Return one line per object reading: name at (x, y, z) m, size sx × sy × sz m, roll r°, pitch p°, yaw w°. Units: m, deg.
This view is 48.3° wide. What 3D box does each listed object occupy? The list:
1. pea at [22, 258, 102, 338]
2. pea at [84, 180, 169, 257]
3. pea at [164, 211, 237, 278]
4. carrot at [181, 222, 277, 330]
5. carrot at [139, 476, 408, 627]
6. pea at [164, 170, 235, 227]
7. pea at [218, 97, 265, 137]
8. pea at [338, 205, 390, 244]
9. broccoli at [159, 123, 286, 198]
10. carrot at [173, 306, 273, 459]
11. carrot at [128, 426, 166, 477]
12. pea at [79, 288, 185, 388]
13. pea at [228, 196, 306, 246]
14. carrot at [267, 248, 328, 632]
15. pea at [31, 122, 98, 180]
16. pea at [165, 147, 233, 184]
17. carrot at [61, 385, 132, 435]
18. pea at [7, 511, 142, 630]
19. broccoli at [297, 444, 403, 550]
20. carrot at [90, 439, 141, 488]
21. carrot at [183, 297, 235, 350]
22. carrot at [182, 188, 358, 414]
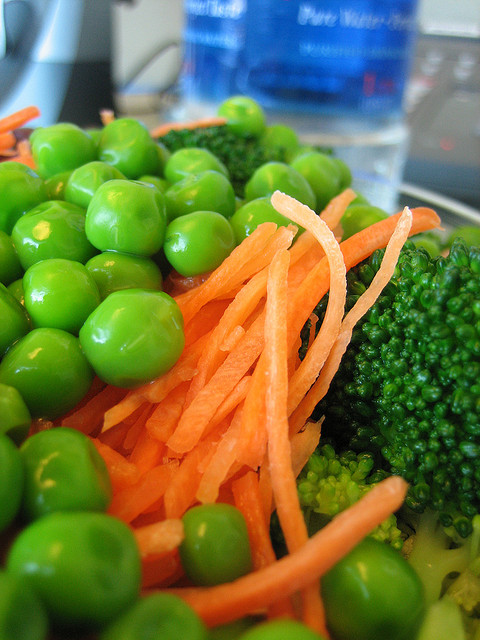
pea at (-0.174, -0.029, 0.542) m, size 0.075 × 0.078 × 0.066 m, roll 5°, pitch 4°, yaw -9°
pea at (-0.129, -0.118, 0.607) m, size 0.094 × 0.081 × 0.097 m, roll 11°, pitch 23°, yaw 14°
pea at (-0.039, -0.087, 0.603) m, size 0.063 × 0.063 × 0.085 m, roll 4°, pitch 5°, yaw 7°
carrot at (-0.012, -0.046, 0.582) m, size 0.157 × 0.027 × 0.026 m, roll -42°, pitch 19°, yaw -8°
carrot at (0.021, 0.177, 0.408) m, size 0.132 × 0.020 × 0.032 m, roll -33°, pitch 70°, yaw 14°
pea at (-0.053, -0.146, 0.715) m, size 0.096 × 0.078 × 0.085 m, roll -4°, pitch 6°, yaw -4°
pea at (-0.001, -0.410, 1.108) m, size 0.097 × 0.087 × 0.101 m, roll 0°, pitch 72°, yaw 2°
pea at (0.175, -0.149, 0.786) m, size 0.070 × 0.076 × 0.066 m, roll -1°, pitch 20°, yaw -7°
broccoli at (-0.039, -0.360, 1.118) m, size 0.201 × 0.111 × 0.287 m, roll 2°, pitch 8°, yaw 2°
carrot at (0.002, 0.062, 0.484) m, size 0.040 × 0.204 × 0.021 m, roll 15°, pitch 43°, yaw -38°
carrot at (-0.086, 0.123, 0.509) m, size 0.015 × 0.014 × 0.052 m, roll -25°, pitch 20°, yaw 22°
pea at (-0.092, 0.018, 0.493) m, size 0.081 × 0.076 × 0.099 m, roll -2°, pitch -9°, yaw -4°
pea at (0.036, -0.106, 0.714) m, size 0.078 × 0.091 × 0.076 m, roll -4°, pitch 75°, yaw -7°
carrot at (0.051, 0.089, 0.457) m, size 0.042 × 0.028 × 0.285 m, roll -3°, pitch 67°, yaw 19°
pea at (-0.259, -0.232, 0.752) m, size 0.079 × 0.057 × 0.097 m, roll -5°, pitch 9°, yaw 13°
pea at (-0.059, -0.228, 0.804) m, size 0.083 × 0.040 × 0.066 m, roll 14°, pitch 0°, yaw 6°
carrot at (-0.141, 0.082, 0.543) m, size 0.030 × 0.034 × 0.121 m, roll -35°, pitch 4°, yaw 5°
pea at (-0.094, 0.140, 0.316) m, size 0.059 × 0.075 × 0.054 m, roll 2°, pitch 71°, yaw -13°
broccoli at (0.092, 0.156, 0.517) m, size 0.095 × 0.069 × 0.047 m, roll 38°, pitch 39°, yaw 27°
carrot at (-0.112, 0.123, 0.490) m, size 0.047 × 0.015 × 0.036 m, roll 35°, pitch 12°, yaw 15°
carrot at (-0.034, -0.003, 0.608) m, size 0.023 × 0.023 × 0.096 m, roll -9°, pitch 26°, yaw 44°
carrot at (0.028, -0.013, 0.564) m, size 0.017 × 0.053 × 0.350 m, roll 12°, pitch 56°, yaw 52°
